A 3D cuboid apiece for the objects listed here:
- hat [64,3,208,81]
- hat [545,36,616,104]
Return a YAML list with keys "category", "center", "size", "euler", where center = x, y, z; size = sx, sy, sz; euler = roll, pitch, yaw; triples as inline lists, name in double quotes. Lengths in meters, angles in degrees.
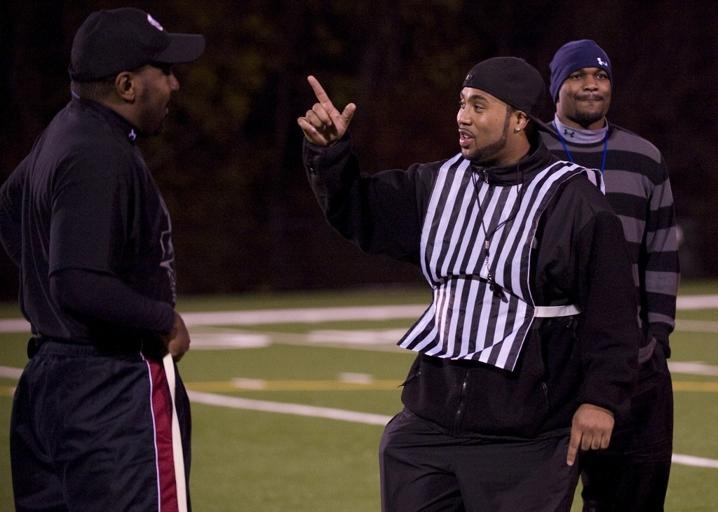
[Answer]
- category: "hat"
  center: [-1.402, -1.347, 8.091]
  size: [0.688, 0.289, 0.434]
  euler: [-7, 18, -12]
- category: "hat"
  center: [1.602, -1.373, 9.483]
  size: [0.424, 0.392, 0.410]
  euler: [-12, -7, 41]
